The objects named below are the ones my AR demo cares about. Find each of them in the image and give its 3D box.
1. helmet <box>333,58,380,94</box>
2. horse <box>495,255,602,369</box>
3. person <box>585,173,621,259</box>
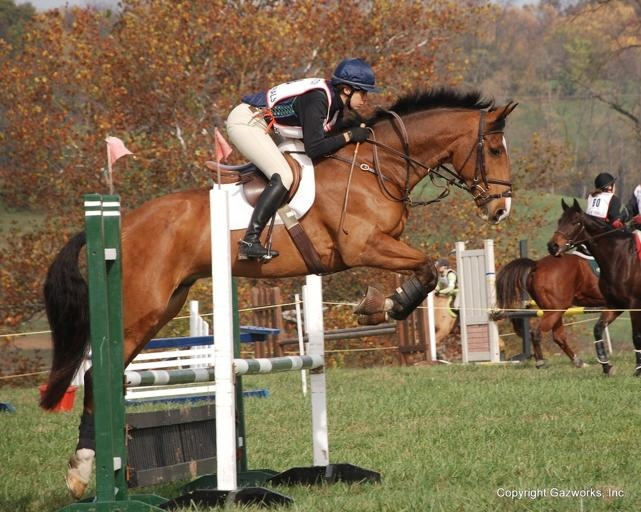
[{"bbox_3d":[0.423,-2.236,14.085,0.481,0.269,0.385,5,26,4],"label":"helmet"},{"bbox_3d":[4.201,0.961,20.533,1.742,2.015,1.638,-7,7,-34],"label":"horse"},{"bbox_3d":[4.690,-0.744,18.954,0.322,1.251,0.384,-9,9,-35],"label":"person"}]
